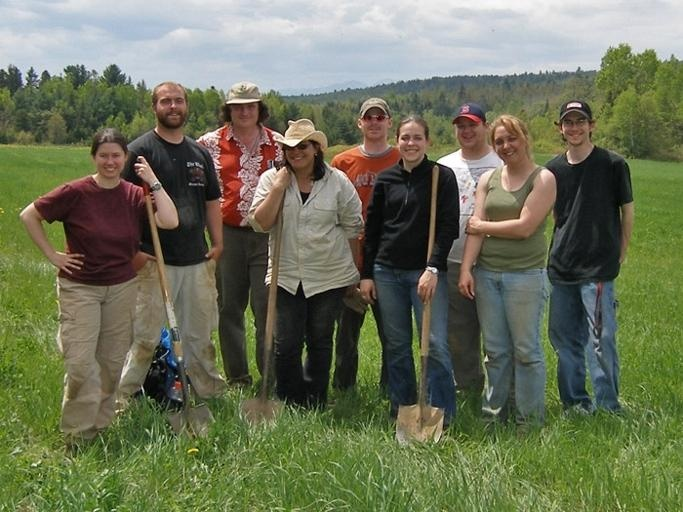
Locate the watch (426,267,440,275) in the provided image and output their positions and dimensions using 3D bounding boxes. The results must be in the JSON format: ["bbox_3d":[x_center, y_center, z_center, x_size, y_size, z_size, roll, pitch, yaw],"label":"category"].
[{"bbox_3d":[0.923,0.139,6.728,0.092,0.078,0.093,10,0,7],"label":"watch"}]

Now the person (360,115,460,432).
[{"bbox_3d":[0.697,0.109,6.976,1.030,3.104,0.834,1,11,18],"label":"person"}]

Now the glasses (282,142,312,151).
[{"bbox_3d":[-0.483,-1.147,6.930,0.321,0.098,0.207,-1,11,6],"label":"glasses"}]

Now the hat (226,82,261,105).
[{"bbox_3d":[-1.192,-1.947,7.958,0.436,0.253,0.286,-4,11,-8],"label":"hat"}]

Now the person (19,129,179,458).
[{"bbox_3d":[-2.393,0.484,6.389,1.055,2.515,0.594,-8,12,-27],"label":"person"}]

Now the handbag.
[{"bbox_3d":[-1.801,1.202,7.029,0.308,0.891,0.630,-15,-23,43],"label":"handbag"}]

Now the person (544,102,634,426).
[{"bbox_3d":[2.627,0.014,7.112,0.843,3.304,0.817,3,12,28],"label":"person"}]

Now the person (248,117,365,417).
[{"bbox_3d":[-0.368,0.087,7.040,1.144,3.021,0.625,-4,11,-9],"label":"person"}]

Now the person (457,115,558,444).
[{"bbox_3d":[1.684,0.155,6.810,0.890,3.143,0.778,3,12,26],"label":"person"}]

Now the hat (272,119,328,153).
[{"bbox_3d":[-0.384,-1.309,7.029,0.343,0.218,0.435,-7,-11,19],"label":"hat"}]

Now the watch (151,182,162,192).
[{"bbox_3d":[-1.863,-0.693,6.631,0.074,0.082,0.050,14,-28,34],"label":"watch"}]
